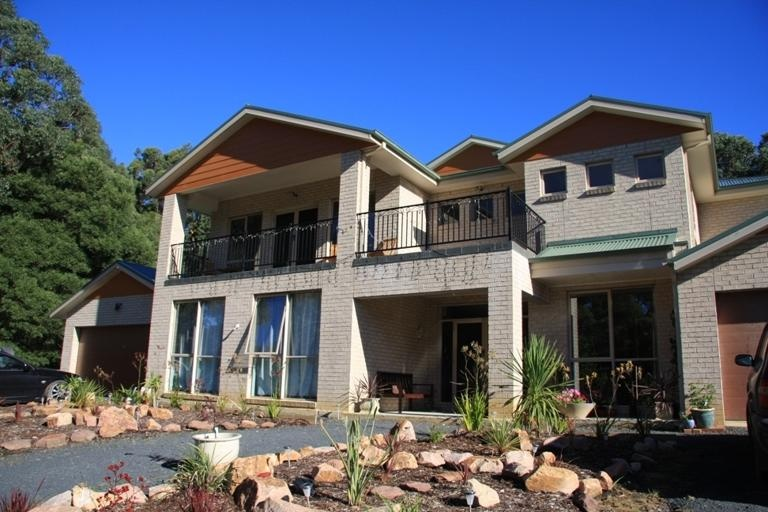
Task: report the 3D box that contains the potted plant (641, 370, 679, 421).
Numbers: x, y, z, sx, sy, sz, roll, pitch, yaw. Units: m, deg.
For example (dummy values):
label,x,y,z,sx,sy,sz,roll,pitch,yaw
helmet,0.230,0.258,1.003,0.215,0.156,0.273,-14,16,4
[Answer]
label,x,y,z,sx,sy,sz,roll,pitch,yaw
potted plant,7.188,3.648,14.890,1.049,0.945,0.954,13,-21,-31

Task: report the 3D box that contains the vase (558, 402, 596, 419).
label,x,y,z,sx,sy,sz,roll,pitch,yaw
vase,4.779,3.800,14.152,0.622,0.206,0.602,9,-20,-30

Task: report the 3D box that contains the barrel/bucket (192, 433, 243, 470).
label,x,y,z,sx,sy,sz,roll,pitch,yaw
barrel/bucket,-2.940,3.459,10.183,0.865,0.549,0.838,2,-8,0

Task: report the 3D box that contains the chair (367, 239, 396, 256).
label,x,y,z,sx,sy,sz,roll,pitch,yaw
chair,-0.179,-0.275,17.687,0.943,0.509,0.672,0,6,36
